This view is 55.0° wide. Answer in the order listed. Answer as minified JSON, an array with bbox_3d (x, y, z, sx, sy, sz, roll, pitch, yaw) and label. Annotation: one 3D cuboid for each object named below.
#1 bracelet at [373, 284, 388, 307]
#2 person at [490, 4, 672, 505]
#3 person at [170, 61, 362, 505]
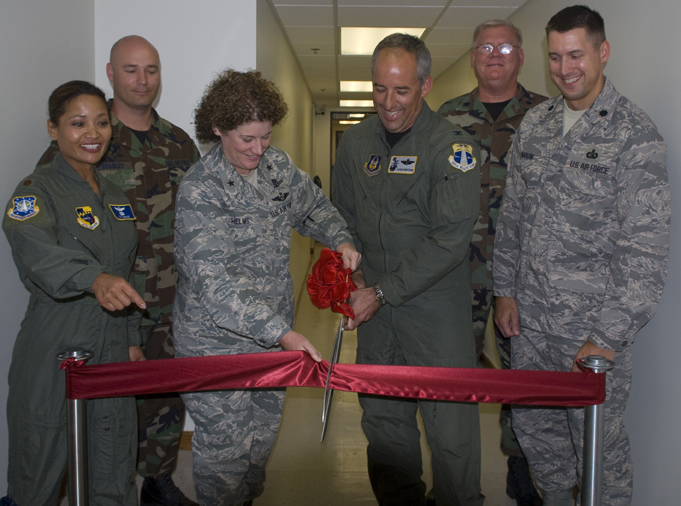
[{"bbox_3d":[0.184,0.203,3.044,0.033,0.075,0.069,-28,-2,1],"label":"bracelet"},{"bbox_3d":[1.081,0.094,3.057,0.528,2.384,0.845,-5,16,-13],"label":"person"},{"bbox_3d":[-0.327,0.284,2.929,0.804,2.138,0.647,-8,17,-22],"label":"person"}]
